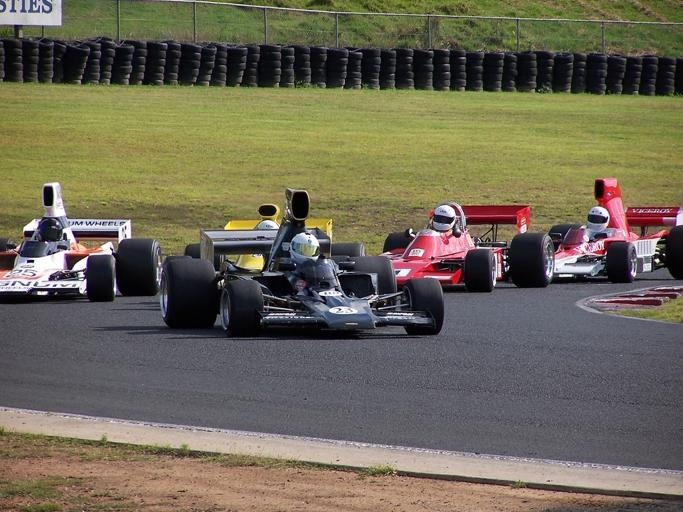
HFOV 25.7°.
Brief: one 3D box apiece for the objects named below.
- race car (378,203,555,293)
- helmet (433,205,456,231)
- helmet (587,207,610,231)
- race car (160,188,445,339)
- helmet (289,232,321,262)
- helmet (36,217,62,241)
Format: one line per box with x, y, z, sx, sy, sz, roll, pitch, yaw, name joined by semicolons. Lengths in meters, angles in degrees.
2.086;-0.131;30.356;3.180;1.568;5.072;-1;3;27;race car
2.051;-0.737;29.887;0.409;0.412;0.507;1;1;10;helmet
5.465;-0.784;31.801;0.406;0.430;0.510;3;2;18;helmet
-0.784;0.110;24.736;4.618;2.223;3.053;6;13;21;race car
-0.615;-0.147;24.898;0.386;0.394;0.482;4;-3;-20;helmet
-5.508;-0.488;28.176;0.371;0.457;0.463;-11;33;0;helmet
